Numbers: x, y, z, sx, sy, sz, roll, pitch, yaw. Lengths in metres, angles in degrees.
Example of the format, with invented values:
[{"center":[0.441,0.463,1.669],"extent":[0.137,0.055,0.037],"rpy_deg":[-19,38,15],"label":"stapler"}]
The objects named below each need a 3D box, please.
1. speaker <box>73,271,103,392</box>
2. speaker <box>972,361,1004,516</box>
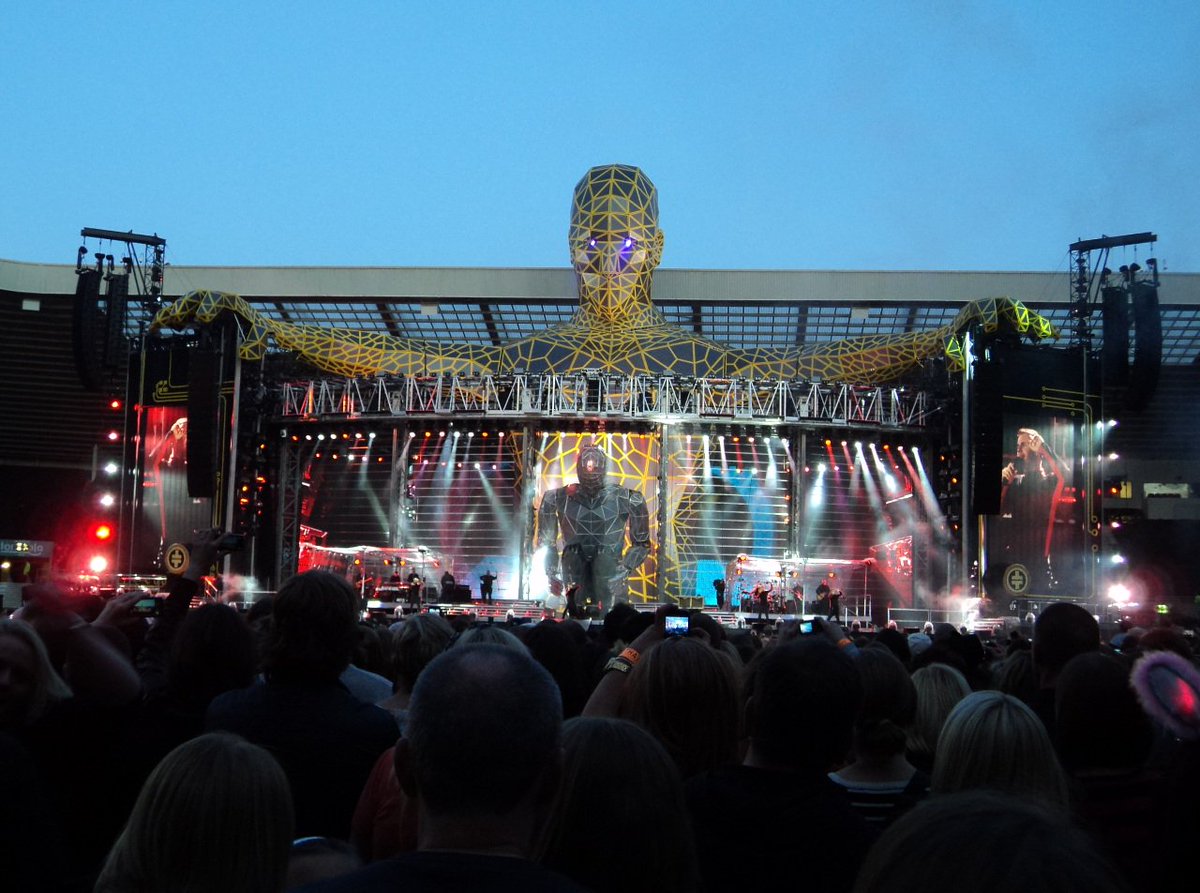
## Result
[{"center":[-14.718,-3.517,33.323],"extent":[0.655,3.065,2.124],"rpy_deg":[2,-5,-24],"label":"speaker"},{"center":[10.016,-0.260,30.048],"extent":[0.741,3.898,0.553],"rpy_deg":[-1,-5,15],"label":"speaker"}]
